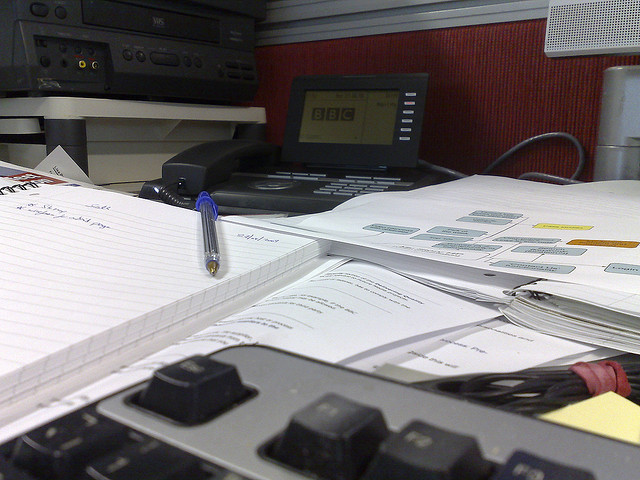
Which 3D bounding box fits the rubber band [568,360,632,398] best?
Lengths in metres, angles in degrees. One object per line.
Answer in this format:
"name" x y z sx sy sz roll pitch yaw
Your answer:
"rubber band" 0.148 0.070 0.260 0.034 0.011 0.023 -5 12 -34
